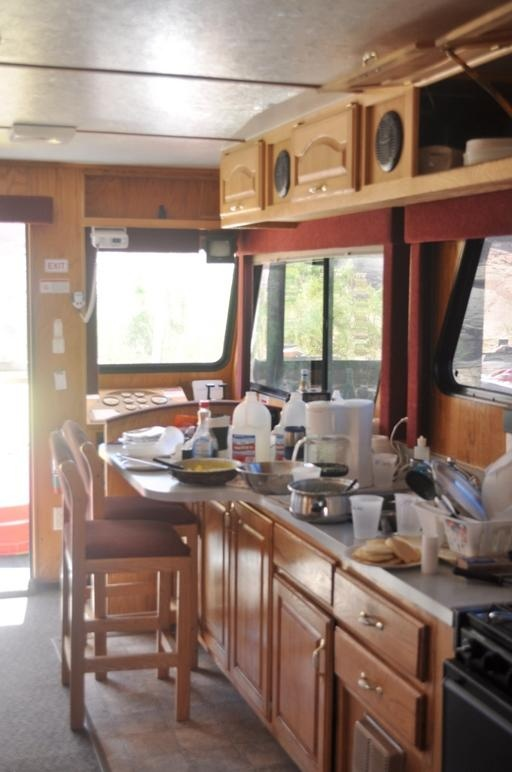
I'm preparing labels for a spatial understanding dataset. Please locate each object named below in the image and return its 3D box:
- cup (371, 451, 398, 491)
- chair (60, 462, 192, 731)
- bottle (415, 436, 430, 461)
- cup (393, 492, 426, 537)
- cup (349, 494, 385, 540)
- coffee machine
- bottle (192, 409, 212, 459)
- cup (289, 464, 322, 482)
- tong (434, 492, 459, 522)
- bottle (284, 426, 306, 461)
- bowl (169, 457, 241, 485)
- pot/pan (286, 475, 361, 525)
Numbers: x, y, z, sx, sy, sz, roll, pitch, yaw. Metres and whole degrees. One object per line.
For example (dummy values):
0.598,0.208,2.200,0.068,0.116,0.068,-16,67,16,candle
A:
0.415,0.279,2.164,0.092,0.113,0.096,3,5,0,cup
-0.503,0.771,2.556,0.536,0.909,0.544,2,-1,-35,chair
0.548,0.207,2.198,0.045,0.070,0.088,0,3,12,bottle
0.384,0.332,1.691,0.077,0.126,0.104,0,2,1,cup
0.271,0.323,1.638,0.093,0.108,0.096,1,3,0,cup
0.256,0.193,2.334,0.137,0.258,0.223,-3,2,29,coffee machine
-0.209,0.182,2.570,0.076,0.177,0.143,-1,3,-5,bottle
0.151,0.270,2.077,0.055,0.047,0.061,1,-3,-3,cup
0.437,0.278,1.523,0.010,0.025,0.044,-3,51,-31,tong
0.137,0.212,2.489,0.096,0.167,0.105,1,5,0,bottle
-0.185,0.309,2.349,0.232,0.062,0.294,-1,3,-5,bowl
0.189,0.327,1.882,0.187,0.102,0.254,-1,3,3,pot/pan
